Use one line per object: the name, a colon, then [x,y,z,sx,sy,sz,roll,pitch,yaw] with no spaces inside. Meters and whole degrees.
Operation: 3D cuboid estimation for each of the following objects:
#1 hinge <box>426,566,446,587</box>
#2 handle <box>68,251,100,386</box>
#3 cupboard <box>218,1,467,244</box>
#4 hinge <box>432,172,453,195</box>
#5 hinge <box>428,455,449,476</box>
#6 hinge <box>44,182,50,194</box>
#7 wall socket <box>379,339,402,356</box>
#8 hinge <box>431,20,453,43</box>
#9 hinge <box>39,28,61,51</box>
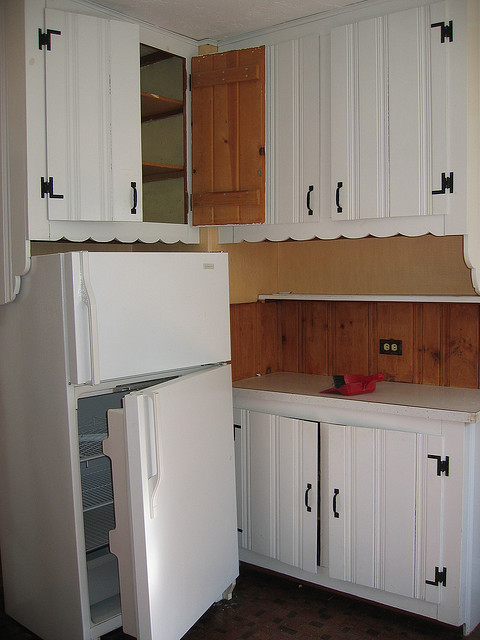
hinge: [0.664,0.864,1.944,0.062,0.079,0.016,1,-3,41]
handle: [-0.446,-0.011,1.631,0.057,0.334,0.071,-7,14,-42]
cupboard: [0.391,-0.753,2.134,0.653,0.687,0.290,8,12,38]
hinge: [0.682,-0.455,1.931,0.055,0.088,0.049,2,3,38]
hinge: [0.661,0.485,1.920,0.067,0.068,0.013,-1,-1,30]
hinge: [-0.644,-0.436,1.909,0.006,0.028,0.024,3,5,43]
wall socket: [0.684,0.125,2.623,0.020,0.065,0.119,0,-1,-37]
hinge: [0.669,-0.951,1.903,0.008,0.073,0.062,-18,24,-42]
hinge: [-0.631,-0.917,1.888,0.010,0.076,0.072,4,7,37]
